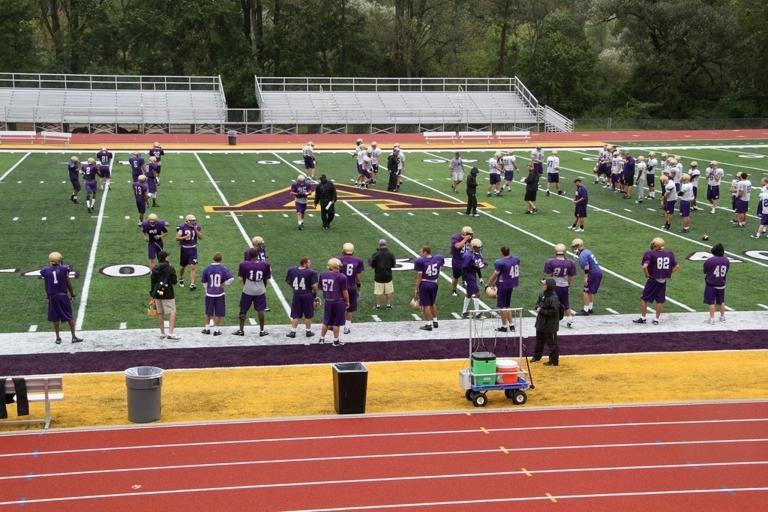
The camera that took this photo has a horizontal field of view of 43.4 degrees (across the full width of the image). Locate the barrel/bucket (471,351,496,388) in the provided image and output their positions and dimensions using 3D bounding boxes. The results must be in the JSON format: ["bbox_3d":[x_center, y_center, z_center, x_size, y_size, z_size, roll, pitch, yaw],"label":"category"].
[{"bbox_3d":[2.287,2.606,22.170,0.613,0.684,0.445,2,17,5],"label":"barrel/bucket"}]

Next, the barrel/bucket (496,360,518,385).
[{"bbox_3d":[2.851,2.690,22.313,0.511,0.444,0.465,0,17,0],"label":"barrel/bucket"}]

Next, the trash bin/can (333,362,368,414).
[{"bbox_3d":[-0.779,2.990,21.713,0.731,1.032,0.571,-2,17,-8],"label":"trash bin/can"}]

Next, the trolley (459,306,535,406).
[{"bbox_3d":[2.566,2.399,22.548,1.759,1.965,1.341,-2,8,-12],"label":"trolley"}]
